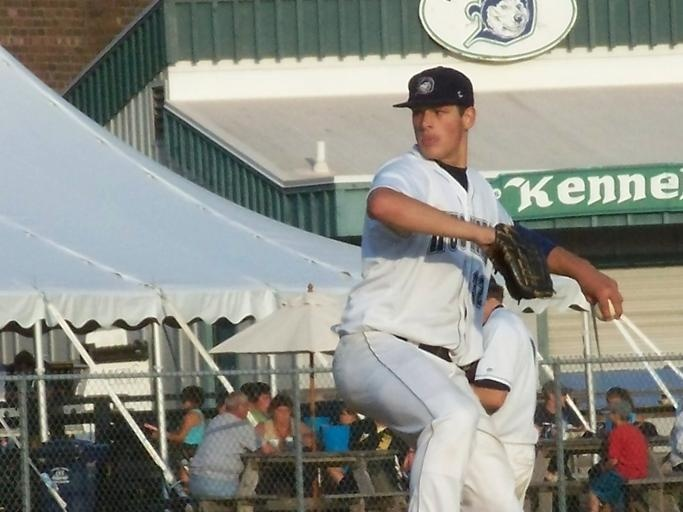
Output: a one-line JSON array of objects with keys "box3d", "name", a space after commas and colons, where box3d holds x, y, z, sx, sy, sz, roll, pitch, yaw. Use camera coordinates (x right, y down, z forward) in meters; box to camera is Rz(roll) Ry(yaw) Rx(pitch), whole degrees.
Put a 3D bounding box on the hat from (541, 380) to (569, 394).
[{"box3d": [2.855, 1.769, 22.889, 0.380, 0.233, 0.240, 2, 1, -5], "name": "hat"}]
